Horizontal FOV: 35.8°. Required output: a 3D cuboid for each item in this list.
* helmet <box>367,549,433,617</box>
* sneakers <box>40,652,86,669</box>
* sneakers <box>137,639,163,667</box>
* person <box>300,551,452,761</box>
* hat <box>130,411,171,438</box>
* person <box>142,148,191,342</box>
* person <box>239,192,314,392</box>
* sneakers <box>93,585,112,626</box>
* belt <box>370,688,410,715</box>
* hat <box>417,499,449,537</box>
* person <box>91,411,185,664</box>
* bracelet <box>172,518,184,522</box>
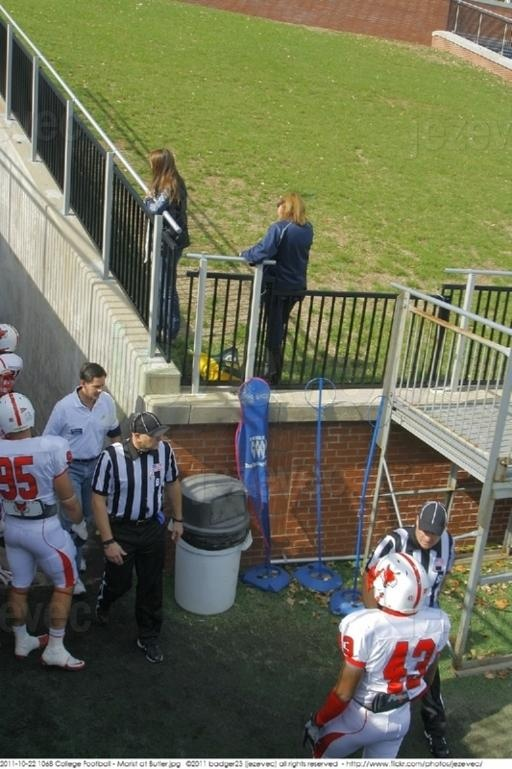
[{"bbox_3d":[0.636,0.857,3.622,0.204,0.239,0.287,1,20,-14],"label":"helmet"},{"bbox_3d":[-1.211,1.697,4.917,0.217,0.101,0.118,9,-4,-10],"label":"sneakers"},{"bbox_3d":[-0.700,1.733,5.255,0.093,0.090,0.203,-8,25,-42],"label":"sneakers"},{"bbox_3d":[0.593,1.354,3.749,0.562,1.280,0.422,7,12,5],"label":"person"},{"bbox_3d":[-0.648,0.248,4.800,0.205,0.120,0.142,2,35,5],"label":"hat"},{"bbox_3d":[-0.754,-1.114,6.480,0.391,1.566,1.509,4,13,-7],"label":"person"},{"bbox_3d":[0.143,-0.758,6.339,0.506,1.513,0.515,6,12,2],"label":"person"},{"bbox_3d":[-1.085,1.510,5.508,0.107,0.238,0.328,10,10,-18],"label":"sneakers"},{"bbox_3d":[0.627,1.463,3.706,0.167,0.102,0.047,-2,11,-13],"label":"belt"},{"bbox_3d":[0.937,0.714,4.223,0.147,0.190,0.173,9,13,14],"label":"hat"},{"bbox_3d":[-0.783,0.924,5.147,0.531,1.672,0.587,5,12,-3],"label":"person"},{"bbox_3d":[-0.531,0.914,5.453,0.042,0.018,0.032,9,3,-9],"label":"bracelet"}]
